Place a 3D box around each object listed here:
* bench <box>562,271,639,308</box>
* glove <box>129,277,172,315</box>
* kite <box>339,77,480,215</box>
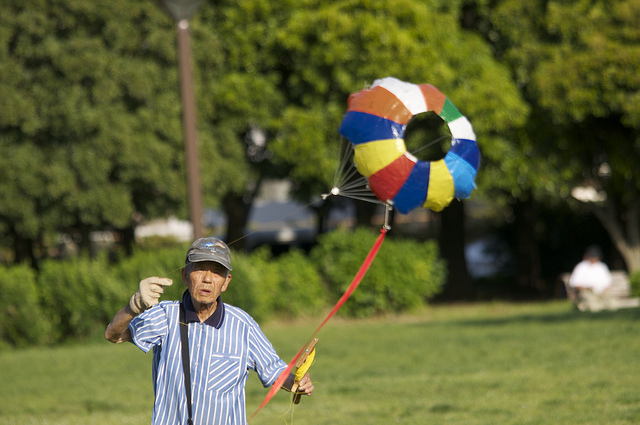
[{"bbox_3d":[7.132,1.949,38.282,1.132,0.398,0.992,1,29,-9],"label":"bench"},{"bbox_3d":[-3.381,1.602,30.563,0.826,0.692,0.335,-1,-7,-9],"label":"glove"},{"bbox_3d":[2.422,-1.387,34.318,3.293,1.034,3.775,-6,37,1],"label":"kite"}]
